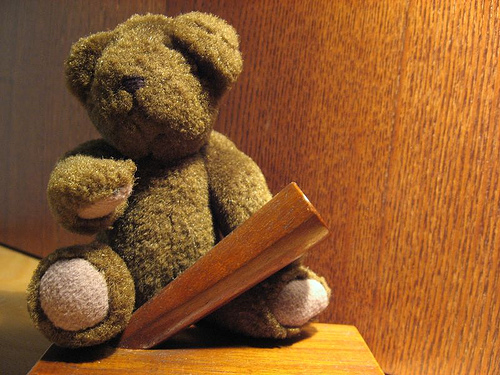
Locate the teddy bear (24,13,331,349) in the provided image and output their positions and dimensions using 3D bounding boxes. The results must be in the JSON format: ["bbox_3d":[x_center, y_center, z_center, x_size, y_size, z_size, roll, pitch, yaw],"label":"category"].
[{"bbox_3d":[-0.085,-0.090,1.698,0.913,1.018,0.687,0,-4,-7],"label":"teddy bear"}]
